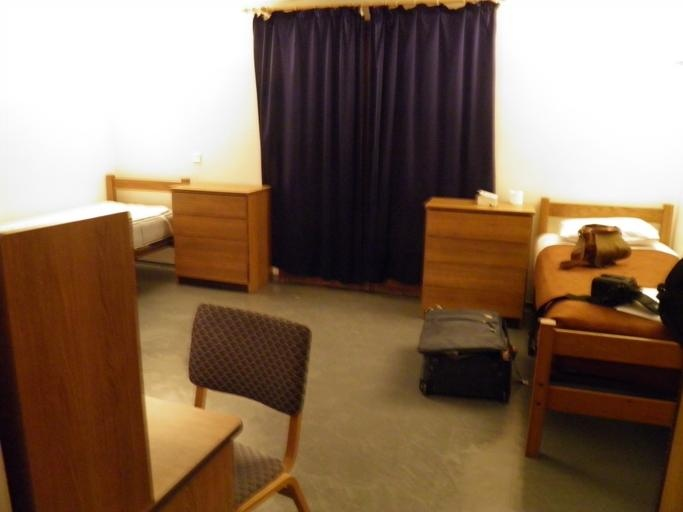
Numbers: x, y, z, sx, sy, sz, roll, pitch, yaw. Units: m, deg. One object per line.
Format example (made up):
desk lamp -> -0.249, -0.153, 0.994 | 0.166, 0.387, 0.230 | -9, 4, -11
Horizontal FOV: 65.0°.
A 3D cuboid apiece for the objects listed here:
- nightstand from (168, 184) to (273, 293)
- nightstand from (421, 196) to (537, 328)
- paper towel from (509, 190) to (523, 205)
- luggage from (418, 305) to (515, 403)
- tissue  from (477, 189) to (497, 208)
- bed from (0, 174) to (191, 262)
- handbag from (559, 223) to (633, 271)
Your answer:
nightstand -> -1.142, -0.203, 5.071 | 0.844, 0.897, 0.500 | 5, 14, 13
nightstand -> 1.076, 0.007, 4.409 | 0.820, 0.909, 0.526 | 1, 18, 3
paper towel -> 1.422, -0.479, 4.381 | 0.112, 0.134, 0.117 | 4, 13, 15
luggage -> 0.771, 0.624, 3.353 | 0.572, 0.416, 0.453 | 2, 12, 8
tissue  -> 1.142, -0.442, 4.189 | 0.125, 0.099, 0.133 | 4, 14, 15
bed -> -2.137, -0.249, 5.028 | 0.868, 0.741, 1.215 | 8, 19, 7
handbag -> 1.761, -0.061, 3.750 | 0.344, 0.240, 0.489 | -6, 1, -3
